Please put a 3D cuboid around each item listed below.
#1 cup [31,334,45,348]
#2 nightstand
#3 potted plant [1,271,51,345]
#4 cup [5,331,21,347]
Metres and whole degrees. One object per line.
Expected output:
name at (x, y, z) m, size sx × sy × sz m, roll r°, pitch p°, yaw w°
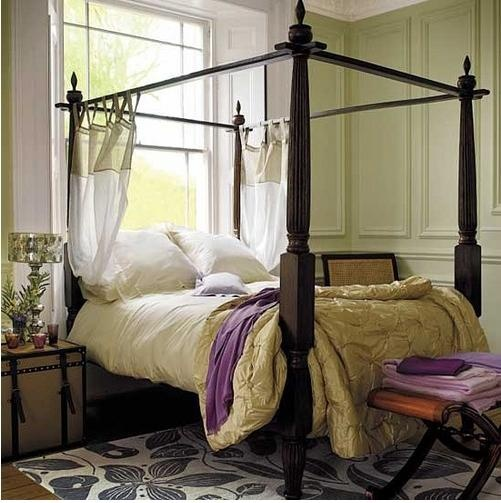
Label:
cup at (-1.163, 0.485, 2.676) m, size 0.060 × 0.066 × 0.068 m, roll 0°, pitch 6°, yaw -14°
nightstand at (-1.201, 0.781, 2.785) m, size 0.475 × 0.537 × 0.450 m, roll 1°, pitch -2°, yaw -44°
potted plant at (-1.339, 0.305, 2.842) m, size 0.319 × 0.509 × 0.333 m, roll 1°, pitch -2°, yaw -37°
cup at (-1.302, 0.470, 2.667) m, size 0.061 × 0.065 × 0.068 m, roll 0°, pitch 6°, yaw -18°
